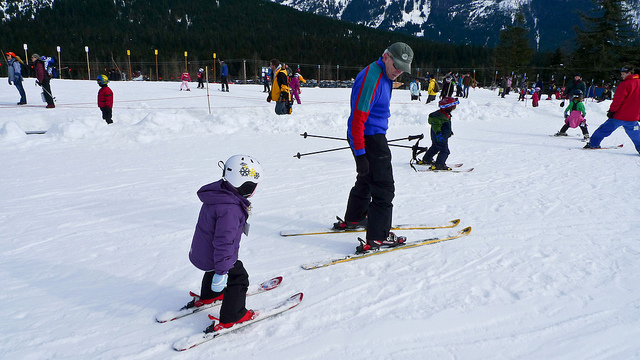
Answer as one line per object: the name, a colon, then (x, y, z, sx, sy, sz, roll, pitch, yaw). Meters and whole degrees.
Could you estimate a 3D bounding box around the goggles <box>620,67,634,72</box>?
goggles: (8.307, -3.054, 12.339, 0.145, 0.064, 0.176, -3, -5, -4)

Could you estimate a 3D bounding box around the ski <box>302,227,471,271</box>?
ski: (1.283, 1.352, 8.721, 2.886, 0.199, 0.282, -11, -3, -11)

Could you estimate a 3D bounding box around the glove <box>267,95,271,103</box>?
glove: (-1.912, -3.030, 16.744, 0.065, 0.192, 0.146, 8, 8, -38)

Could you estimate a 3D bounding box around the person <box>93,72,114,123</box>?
person: (-6.920, -2.662, 14.535, 0.455, 1.441, 1.538, -8, 19, -25)

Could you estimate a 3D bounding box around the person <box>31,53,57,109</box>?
person: (-10.227, -3.694, 16.788, 0.516, 1.902, 1.383, -10, 20, -29)

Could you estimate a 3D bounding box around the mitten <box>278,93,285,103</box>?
mitten: (-1.353, -2.883, 15.753, 0.082, 0.231, 0.176, 8, 15, -37)

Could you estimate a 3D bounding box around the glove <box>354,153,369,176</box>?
glove: (0.781, -0.303, 8.450, 0.279, 0.343, 0.130, 6, -5, -43)

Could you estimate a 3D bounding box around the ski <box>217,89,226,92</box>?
ski: (-5.764, -5.255, 26.287, 0.254, 0.139, 1.382, 22, 4, -25)

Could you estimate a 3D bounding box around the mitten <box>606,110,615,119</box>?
mitten: (7.968, -1.836, 12.468, 0.172, 0.145, 0.131, -18, 16, 31)

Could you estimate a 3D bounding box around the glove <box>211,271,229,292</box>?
glove: (-1.692, 1.723, 7.674, 0.242, 0.285, 0.302, 12, 1, 6)

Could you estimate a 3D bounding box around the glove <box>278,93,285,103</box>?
glove: (-1.355, -2.892, 15.750, 0.152, 0.345, 0.246, -13, 22, -36)

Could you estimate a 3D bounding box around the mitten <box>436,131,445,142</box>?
mitten: (3.012, -1.117, 11.474, 0.266, 0.092, 0.184, 22, 13, -30)

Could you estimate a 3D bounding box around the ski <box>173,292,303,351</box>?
ski: (-1.408, 2.459, 7.712, 1.789, 0.243, 0.243, -21, 51, -6)

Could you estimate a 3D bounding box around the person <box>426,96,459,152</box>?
person: (3.133, -1.425, 11.699, 0.641, 1.486, 0.968, 6, 18, 15)

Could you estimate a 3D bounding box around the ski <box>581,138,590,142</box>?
ski: (8.197, -1.272, 14.064, 0.179, 0.146, 0.145, 7, 18, 19)

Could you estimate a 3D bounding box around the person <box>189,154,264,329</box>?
person: (-1.601, 1.050, 7.649, 1.221, 2.818, 0.878, -4, 19, -16)

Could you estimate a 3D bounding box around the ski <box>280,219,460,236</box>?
ski: (1.018, 0.967, 9.142, 2.702, 0.208, 0.201, -4, -18, -4)
